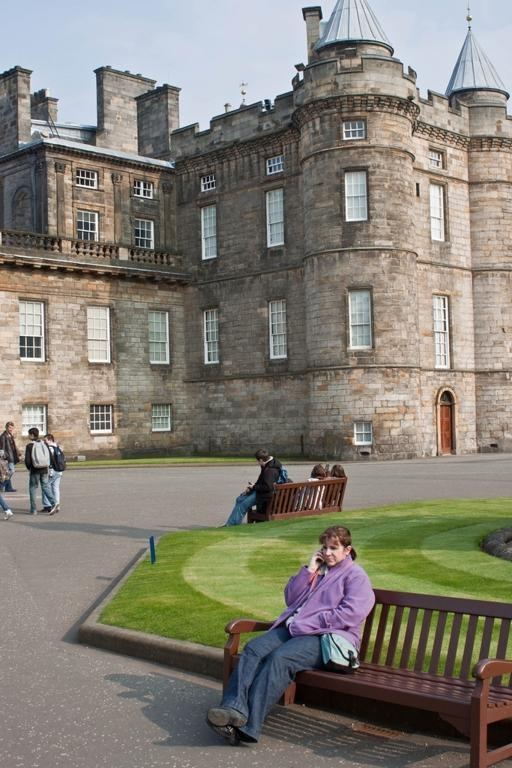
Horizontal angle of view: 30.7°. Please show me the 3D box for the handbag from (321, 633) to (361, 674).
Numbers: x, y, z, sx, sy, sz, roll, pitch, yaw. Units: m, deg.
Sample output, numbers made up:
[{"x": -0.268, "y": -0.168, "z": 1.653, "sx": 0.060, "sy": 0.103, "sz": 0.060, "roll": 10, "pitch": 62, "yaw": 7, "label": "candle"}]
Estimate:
[{"x": 0.498, "y": 1.612, "z": 5.627, "sx": 0.099, "sy": 0.184, "sz": 0.192, "roll": -24, "pitch": -27, "yaw": 38, "label": "handbag"}]

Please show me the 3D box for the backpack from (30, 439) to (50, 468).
[{"x": -3.974, "y": 1.292, "z": 17.131, "sx": 0.322, "sy": 0.324, "sz": 0.453, "roll": -2, "pitch": -1, "yaw": -13, "label": "backpack"}]

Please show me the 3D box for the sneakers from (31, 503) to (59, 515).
[{"x": -3.837, "y": 2.235, "z": 16.809, "sx": 0.597, "sy": 0.250, "sz": 0.197, "roll": -11, "pitch": -8, "yaw": 32, "label": "sneakers"}]

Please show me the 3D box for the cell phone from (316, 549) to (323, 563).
[{"x": 0.402, "y": 1.092, "z": 5.970, "sx": 0.038, "sy": 0.078, "sz": 0.052, "roll": 3, "pitch": -28, "yaw": 0, "label": "cell phone"}]

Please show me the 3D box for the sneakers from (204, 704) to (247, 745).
[{"x": -0.179, "y": 1.956, "z": 5.359, "sx": 0.217, "sy": 0.273, "sz": 0.212, "roll": -2, "pitch": -1, "yaw": -4, "label": "sneakers"}]

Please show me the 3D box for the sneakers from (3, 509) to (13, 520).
[{"x": -4.388, "y": 2.260, "z": 16.299, "sx": 0.104, "sy": 0.209, "sz": 0.302, "roll": 1, "pitch": -1, "yaw": -7, "label": "sneakers"}]
